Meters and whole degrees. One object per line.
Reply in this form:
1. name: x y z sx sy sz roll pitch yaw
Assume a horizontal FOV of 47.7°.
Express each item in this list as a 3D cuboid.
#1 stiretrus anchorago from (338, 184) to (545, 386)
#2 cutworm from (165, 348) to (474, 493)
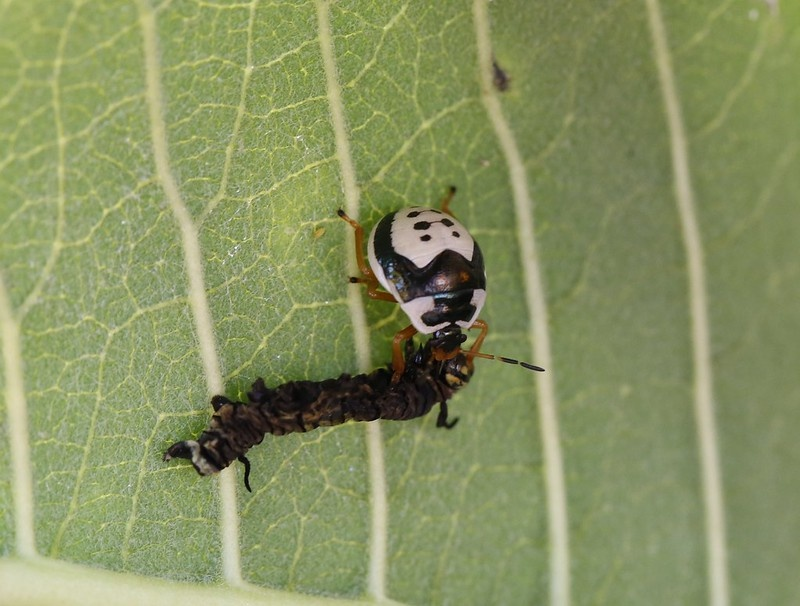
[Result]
1. stiretrus anchorago: 0.220 -0.178 6.283 1.155 1.566 0.512 -12 15 -17
2. cutworm: -0.572 0.674 6.695 2.621 0.808 0.927 -10 -44 -14
